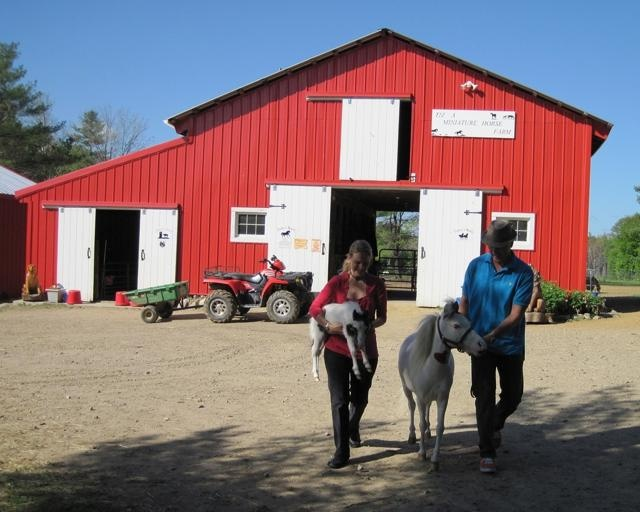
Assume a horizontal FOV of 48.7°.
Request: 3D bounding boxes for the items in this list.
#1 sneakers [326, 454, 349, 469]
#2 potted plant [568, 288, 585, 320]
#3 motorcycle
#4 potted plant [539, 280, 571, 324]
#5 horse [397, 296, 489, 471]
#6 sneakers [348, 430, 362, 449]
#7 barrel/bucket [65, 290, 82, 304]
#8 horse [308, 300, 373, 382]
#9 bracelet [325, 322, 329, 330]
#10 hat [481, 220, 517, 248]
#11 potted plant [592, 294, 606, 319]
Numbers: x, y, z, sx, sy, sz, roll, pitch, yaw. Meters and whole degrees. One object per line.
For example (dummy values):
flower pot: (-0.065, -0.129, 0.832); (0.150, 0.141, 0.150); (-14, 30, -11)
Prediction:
sneakers: (0.207, 2.217, 7.687); (0.272, 0.155, 0.174); (0, 6, -15)
potted plant: (6.296, 1.228, 17.352); (0.442, 0.642, 0.523); (-1, 4, 14)
motorcycle: (-1.346, 0.738, 16.138); (2.196, 1.674, 1.345); (-1, 1, 4)
potted plant: (5.639, 1.156, 17.157); (1.095, 0.779, 0.620); (-4, 8, -43)
horse: (1.282, 1.351, 7.780); (0.570, 1.826, 1.212); (0, 6, -16)
sneakers: (0.397, 2.128, 8.166); (0.080, 0.174, 0.235); (2, 4, 12)
barrel/bucket: (-6.769, 1.155, 19.396); (0.333, 0.335, 0.350); (1, 6, 0)
horse: (0.241, 0.899, 7.815); (0.264, 0.878, 0.992); (-2, -6, -39)
bracelet: (0.066, 0.777, 7.724); (0.014, 0.052, 0.051); (6, 27, -11)
hat: (1.934, -0.230, 7.671); (0.335, 0.293, 0.241); (3, 6, 13)
potted plant: (7.105, 1.318, 18.081); (0.393, 0.600, 0.501); (-5, -6, -3)
